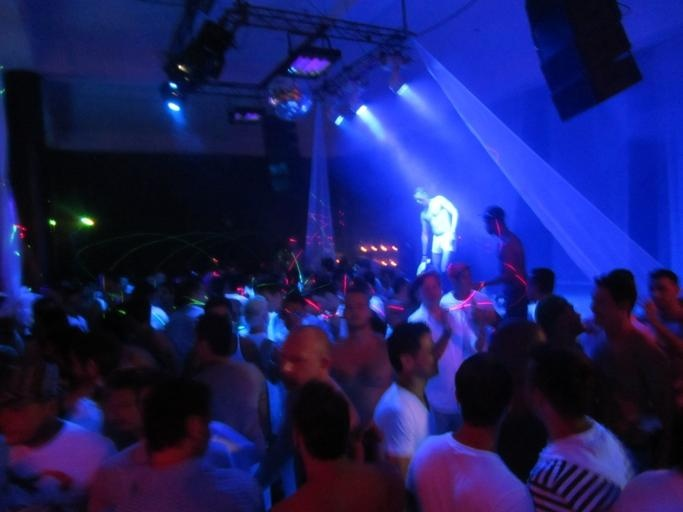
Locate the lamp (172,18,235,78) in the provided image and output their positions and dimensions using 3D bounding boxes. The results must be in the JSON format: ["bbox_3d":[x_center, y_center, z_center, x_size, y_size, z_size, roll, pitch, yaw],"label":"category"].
[{"bbox_3d":[-1.962,-2.851,7.944,0.552,0.608,1.104,6,-3,-28],"label":"lamp"}]

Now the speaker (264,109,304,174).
[{"bbox_3d":[-1.287,-2.457,12.416,0.961,0.875,0.535,5,-3,-23],"label":"speaker"}]

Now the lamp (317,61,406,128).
[{"bbox_3d":[0.307,-3.053,10.080,1.145,0.699,2.739,5,-3,-13],"label":"lamp"}]
